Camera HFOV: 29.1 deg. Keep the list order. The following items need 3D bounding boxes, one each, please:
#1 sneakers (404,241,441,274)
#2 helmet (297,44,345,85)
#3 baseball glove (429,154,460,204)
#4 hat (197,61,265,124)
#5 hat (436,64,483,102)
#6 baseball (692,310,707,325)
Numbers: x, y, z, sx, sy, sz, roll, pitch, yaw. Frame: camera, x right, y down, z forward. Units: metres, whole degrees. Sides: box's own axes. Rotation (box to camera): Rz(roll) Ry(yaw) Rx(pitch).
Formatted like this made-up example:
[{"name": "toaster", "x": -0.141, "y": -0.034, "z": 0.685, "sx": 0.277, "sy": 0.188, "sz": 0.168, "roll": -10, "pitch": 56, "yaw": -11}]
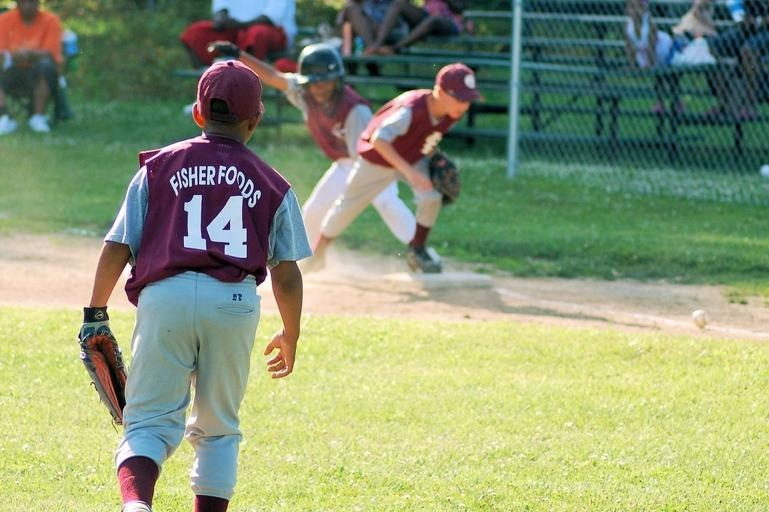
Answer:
[{"name": "sneakers", "x": 0.249, "y": 0.021, "z": 9.859, "sx": 0.132, "sy": 0.100, "sz": 0.306, "roll": -18, "pitch": 30, "yaw": -20}, {"name": "helmet", "x": -0.491, "y": -1.459, "z": 11.349, "sx": 0.278, "sy": 0.266, "sz": 0.354, "roll": -3, "pitch": 26, "yaw": 10}, {"name": "baseball glove", "x": 0.369, "y": -0.540, "z": 10.082, "sx": 0.110, "sy": 0.308, "sz": 0.222, "roll": -33, "pitch": -47, "yaw": 26}, {"name": "hat", "x": -0.873, "y": -1.000, "z": 8.607, "sx": 0.406, "sy": 0.291, "sz": 0.572, "roll": 6, "pitch": 22, "yaw": 6}, {"name": "hat", "x": 0.514, "y": -1.166, "z": 9.892, "sx": 0.272, "sy": 0.204, "sz": 0.383, "roll": -1, "pitch": 23, "yaw": -35}, {"name": "baseball", "x": 2.014, "y": 0.395, "z": 9.495, "sx": 0.078, "sy": 0.087, "sz": 0.096, "roll": 2, "pitch": 11, "yaw": 3}]
